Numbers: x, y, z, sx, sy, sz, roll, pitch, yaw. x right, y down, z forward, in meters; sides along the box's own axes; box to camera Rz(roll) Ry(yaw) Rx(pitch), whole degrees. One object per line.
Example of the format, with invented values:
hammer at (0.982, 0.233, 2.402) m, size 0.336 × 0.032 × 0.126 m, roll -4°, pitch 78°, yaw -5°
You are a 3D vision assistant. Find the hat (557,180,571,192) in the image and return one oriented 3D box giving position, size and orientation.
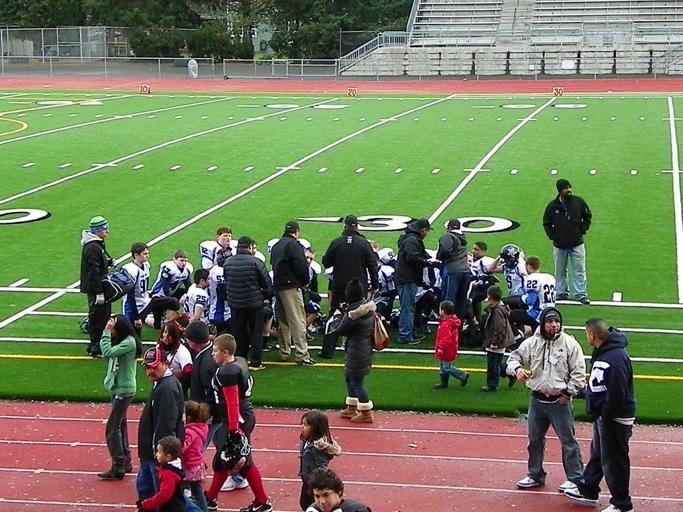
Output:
hat at (4.458, -1.431, 15.677) m, size 0.242 × 0.247 × 0.550 m, roll 0°, pitch 5°, yaw 11°

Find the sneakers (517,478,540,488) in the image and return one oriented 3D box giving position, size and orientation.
sneakers at (2.252, 2.768, 9.410) m, size 0.308 × 0.122 × 0.110 m, roll 2°, pitch 3°, yaw 0°

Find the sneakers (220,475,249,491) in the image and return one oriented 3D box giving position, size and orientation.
sneakers at (-1.322, 2.820, 9.605) m, size 0.410 × 0.167 × 0.153 m, roll 5°, pitch -4°, yaw -14°

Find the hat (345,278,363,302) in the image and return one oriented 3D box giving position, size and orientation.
hat at (0.164, 0.473, 10.685) m, size 0.305 × 0.298 × 0.304 m, roll 4°, pitch 12°, yaw -2°

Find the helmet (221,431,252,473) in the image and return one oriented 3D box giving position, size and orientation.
helmet at (-1.203, 2.203, 8.786) m, size 0.340 × 0.463 × 0.185 m, roll -2°, pitch 6°, yaw -13°

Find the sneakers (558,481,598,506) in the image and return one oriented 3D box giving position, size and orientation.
sneakers at (2.746, 2.784, 9.191) m, size 0.486 × 0.199 × 0.172 m, roll 17°, pitch 6°, yaw 10°

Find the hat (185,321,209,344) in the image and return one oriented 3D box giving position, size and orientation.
hat at (-1.775, 0.939, 9.524) m, size 0.287 × 0.269 × 0.273 m, roll -2°, pitch 5°, yaw -12°

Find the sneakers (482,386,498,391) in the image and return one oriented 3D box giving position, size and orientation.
sneakers at (2.277, 2.063, 12.062) m, size 0.254 × 0.096 × 0.086 m, roll -2°, pitch 28°, yaw 9°

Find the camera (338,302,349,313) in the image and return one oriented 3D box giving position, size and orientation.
camera at (0.028, 0.713, 10.938) m, size 0.144 × 0.060 × 0.163 m, roll 0°, pitch -17°, yaw -4°

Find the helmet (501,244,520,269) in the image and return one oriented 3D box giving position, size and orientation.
helmet at (2.897, -0.008, 13.319) m, size 0.336 × 0.357 × 0.397 m, roll -1°, pitch 11°, yaw 15°

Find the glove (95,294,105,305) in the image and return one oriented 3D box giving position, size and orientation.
glove at (-3.940, 0.719, 12.770) m, size 0.239 × 0.130 × 0.254 m, roll -3°, pitch -11°, yaw -18°

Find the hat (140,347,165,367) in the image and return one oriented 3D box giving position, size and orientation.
hat at (-2.099, 1.131, 8.666) m, size 0.216 × 0.208 × 0.199 m, roll -3°, pitch 6°, yaw -21°

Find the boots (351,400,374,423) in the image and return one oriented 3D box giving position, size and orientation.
boots at (0.300, 2.218, 11.126) m, size 0.411 × 0.350 × 0.239 m, roll 3°, pitch 6°, yaw 7°
